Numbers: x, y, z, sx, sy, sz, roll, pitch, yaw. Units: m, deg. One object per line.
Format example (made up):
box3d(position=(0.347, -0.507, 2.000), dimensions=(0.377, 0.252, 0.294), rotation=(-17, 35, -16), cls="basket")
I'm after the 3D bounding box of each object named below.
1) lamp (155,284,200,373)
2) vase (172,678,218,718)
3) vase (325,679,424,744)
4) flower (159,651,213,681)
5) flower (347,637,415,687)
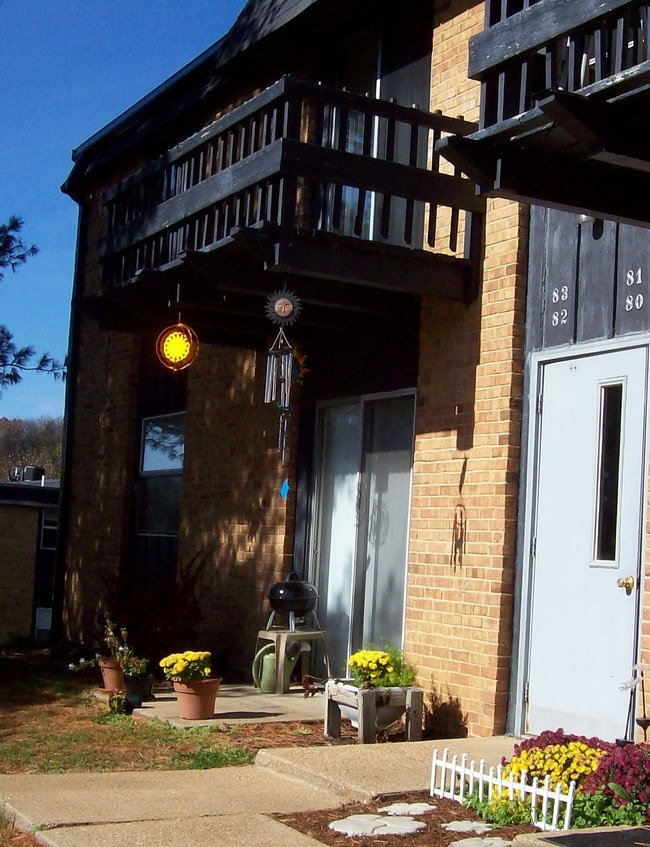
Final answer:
box3d(position=(-1.296, -0.749, 8.101), dimensions=(0.334, 0.485, 0.316), rotation=(8, -9, -24), cls="lamp")
box3d(position=(-0.899, 1.945, 6.506), dimensions=(0.291, 0.206, 0.284), rotation=(2, -10, -18), cls="vase")
box3d(position=(0.320, 1.840, 5.790), dimensions=(0.498, 0.368, 0.581), rotation=(8, -9, -25), cls="vase")
box3d(position=(-0.982, 1.765, 6.556), dimensions=(0.298, 0.196, 0.293), rotation=(1, 1, -6), cls="flower")
box3d(position=(0.318, 1.527, 5.874), dimensions=(0.343, 0.203, 0.311), rotation=(5, -4, -25), cls="flower")
